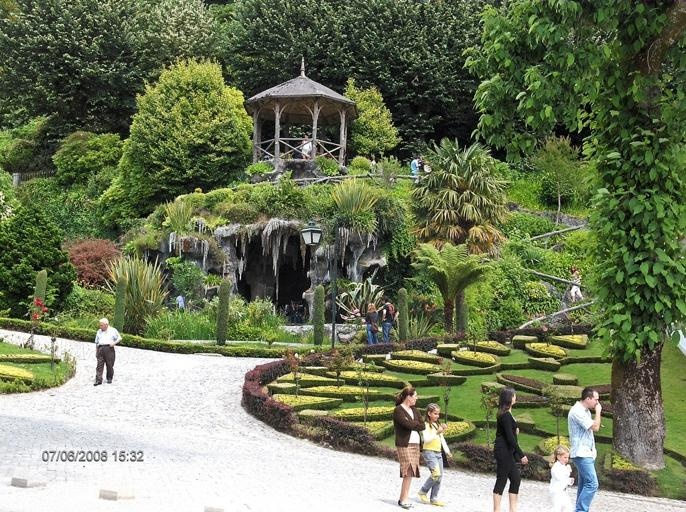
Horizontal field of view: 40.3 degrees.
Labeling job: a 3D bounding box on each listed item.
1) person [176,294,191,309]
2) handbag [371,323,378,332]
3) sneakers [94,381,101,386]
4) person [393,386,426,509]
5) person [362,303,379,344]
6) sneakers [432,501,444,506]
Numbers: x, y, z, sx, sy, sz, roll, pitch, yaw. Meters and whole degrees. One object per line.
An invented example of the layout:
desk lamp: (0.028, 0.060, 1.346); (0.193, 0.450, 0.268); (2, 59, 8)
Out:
person: (-6.476, 1.808, 37.359); (0.552, 0.890, 0.479); (-1, -5, 1)
handbag: (1.049, 2.442, 32.117); (0.271, 0.366, 0.199); (0, -3, -9)
sneakers: (-6.923, 3.527, 26.328); (0.187, 0.170, 0.200); (2, -4, -18)
person: (1.384, 4.064, 20.081); (0.594, 2.530, 0.612); (-2, -4, 33)
person: (0.972, 2.306, 32.250); (0.401, 1.340, 0.458); (1, -4, 4)
sneakers: (2.013, 5.288, 20.047); (0.175, 0.081, 0.101); (-5, -5, 16)
